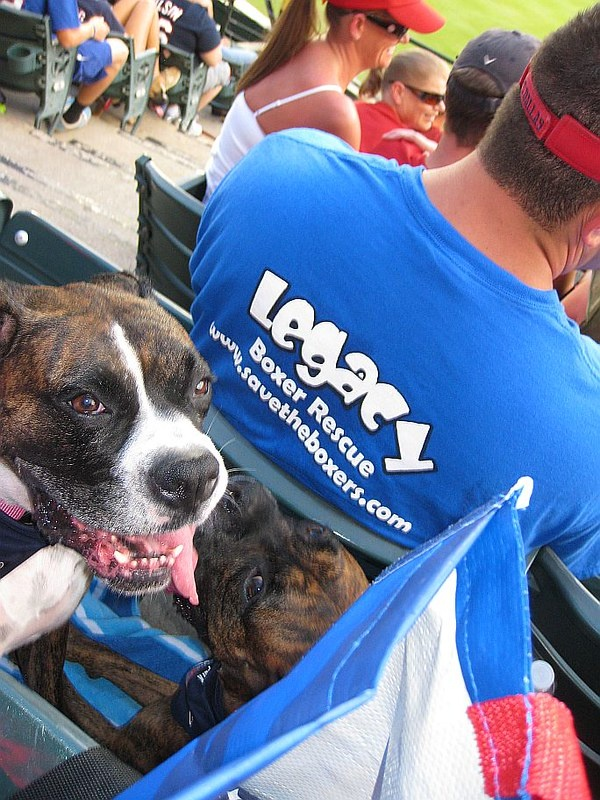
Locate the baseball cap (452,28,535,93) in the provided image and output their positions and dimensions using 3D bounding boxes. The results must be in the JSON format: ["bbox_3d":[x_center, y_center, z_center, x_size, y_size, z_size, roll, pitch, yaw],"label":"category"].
[{"bbox_3d":[0.794,-1.441,2.920,0.301,0.221,0.429,19,45,18],"label":"baseball cap"}]

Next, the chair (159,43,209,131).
[{"bbox_3d":[-1.383,-3.644,8.184,0.565,0.762,0.608,22,52,-1],"label":"chair"}]

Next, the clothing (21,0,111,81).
[{"bbox_3d":[-2.079,-3.232,6.096,0.566,0.629,0.589,27,62,5],"label":"clothing"}]
